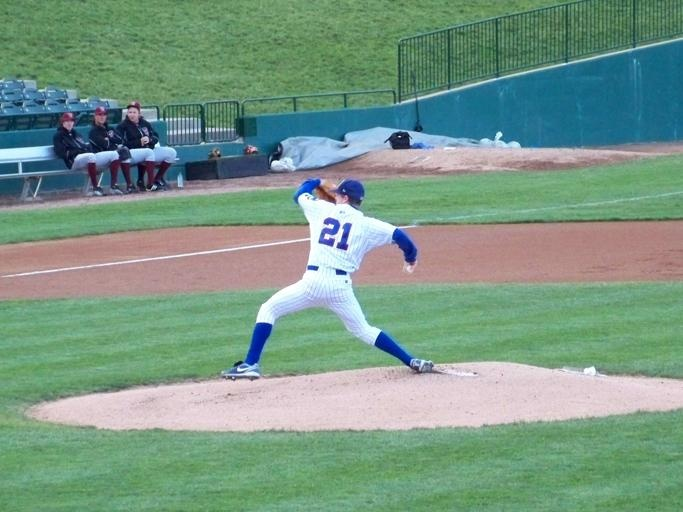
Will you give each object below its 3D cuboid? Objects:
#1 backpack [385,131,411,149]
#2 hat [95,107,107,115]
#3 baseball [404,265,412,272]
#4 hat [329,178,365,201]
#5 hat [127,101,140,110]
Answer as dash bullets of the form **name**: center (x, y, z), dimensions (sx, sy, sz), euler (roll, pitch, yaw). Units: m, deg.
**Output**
- **backpack**: center (1.598, -3.148, 51.947), dimensions (0.693, 0.428, 0.738), euler (-1, 8, 0)
- **hat**: center (-5.733, -3.477, 46.058), dimensions (0.310, 0.140, 0.410), euler (-1, 7, -20)
- **baseball**: center (1.327, 0.170, 36.690), dimensions (0.111, 0.131, 0.051), euler (-4, 9, 13)
- **hat**: center (0.208, -1.303, 36.618), dimensions (0.516, 0.280, 0.367), euler (29, 32, 21)
- **hat**: center (-4.994, -3.703, 46.731), dimensions (0.312, 0.212, 0.408), euler (9, -5, -17)
